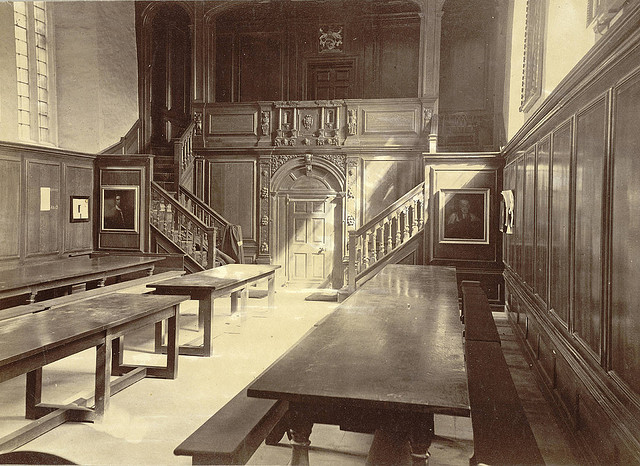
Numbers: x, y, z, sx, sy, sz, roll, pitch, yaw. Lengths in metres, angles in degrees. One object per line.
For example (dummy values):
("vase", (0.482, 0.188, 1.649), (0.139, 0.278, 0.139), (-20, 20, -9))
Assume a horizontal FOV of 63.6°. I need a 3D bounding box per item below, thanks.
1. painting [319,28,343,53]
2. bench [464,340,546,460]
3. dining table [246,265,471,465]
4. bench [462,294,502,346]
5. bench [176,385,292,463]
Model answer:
("painting", (0.338, -5.527, 14.762), (0.628, 0.726, 0.115), (1, 9, 8))
("bench", (1.340, 1.238, 3.939), (0.389, 0.210, 1.643), (5, 6, 12))
("dining table", (0.540, 1.341, 4.502), (1.351, 1.178, 2.924), (5, 6, 14))
("bench", (1.818, 0.936, 5.915), (0.327, 0.048, 2.040), (5, 6, 14))
("bench", (-0.534, 1.281, 3.402), (0.430, 0.256, 0.783), (6, 6, 24))
